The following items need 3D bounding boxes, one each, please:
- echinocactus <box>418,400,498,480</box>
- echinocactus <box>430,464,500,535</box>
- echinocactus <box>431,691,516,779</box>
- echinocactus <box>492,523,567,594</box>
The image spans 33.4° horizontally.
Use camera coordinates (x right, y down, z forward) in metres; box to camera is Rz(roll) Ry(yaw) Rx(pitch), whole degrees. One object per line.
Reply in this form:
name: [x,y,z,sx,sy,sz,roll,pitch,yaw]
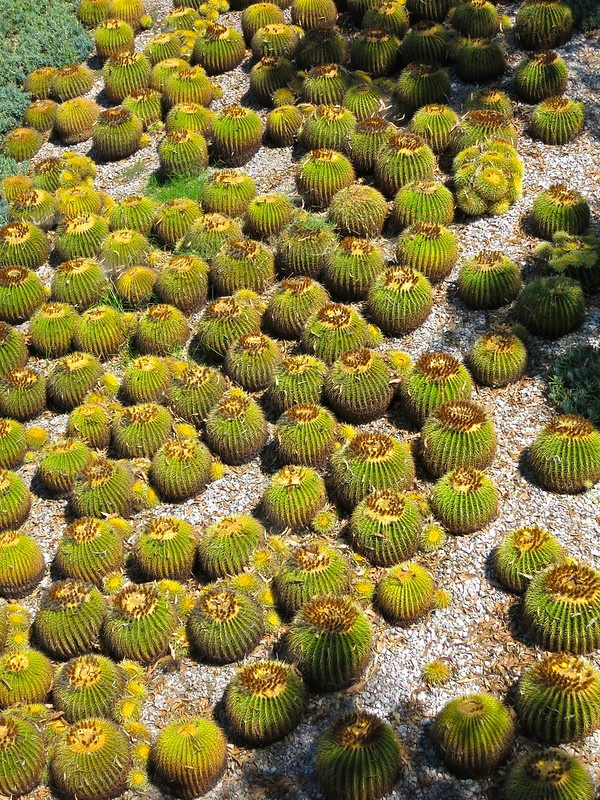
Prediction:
echinocactus: [0.943,0.250,6.020,0.413,0.455,0.418,-23,33,-27]
echinocactus: [0.921,0.573,5.591,0.313,0.378,0.364,-4,35,3]
echinocactus: [0.826,1.524,4.591,0.310,0.329,0.341,-14,14,-18]
echinocactus: [1.214,0.826,5.276,0.306,0.365,0.351,1,32,8]
